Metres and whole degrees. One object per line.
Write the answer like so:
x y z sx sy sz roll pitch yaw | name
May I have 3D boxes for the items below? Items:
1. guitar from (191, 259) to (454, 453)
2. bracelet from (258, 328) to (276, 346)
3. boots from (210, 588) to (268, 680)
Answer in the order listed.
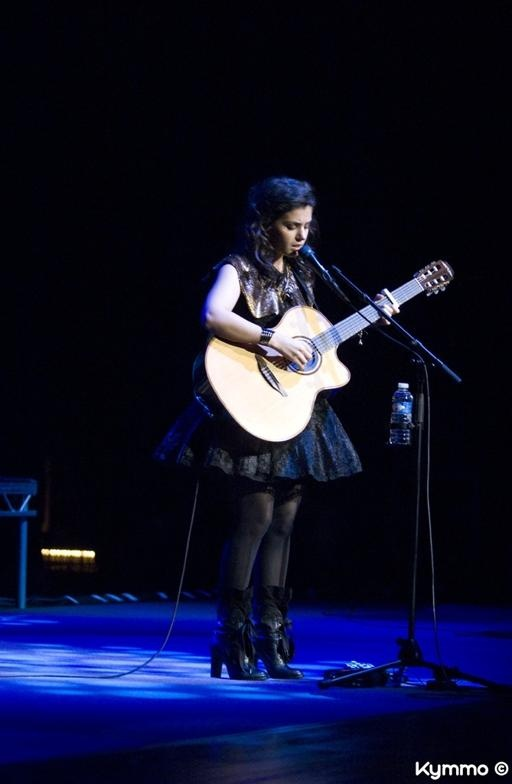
0.214 -0.148 2.344 0.873 0.367 0.113 -37 8 -26 | guitar
0.028 -0.149 2.244 0.040 0.039 0.023 2 -10 -2 | bracelet
-0.045 0.650 2.283 0.145 0.237 0.128 2 -10 -4 | boots
